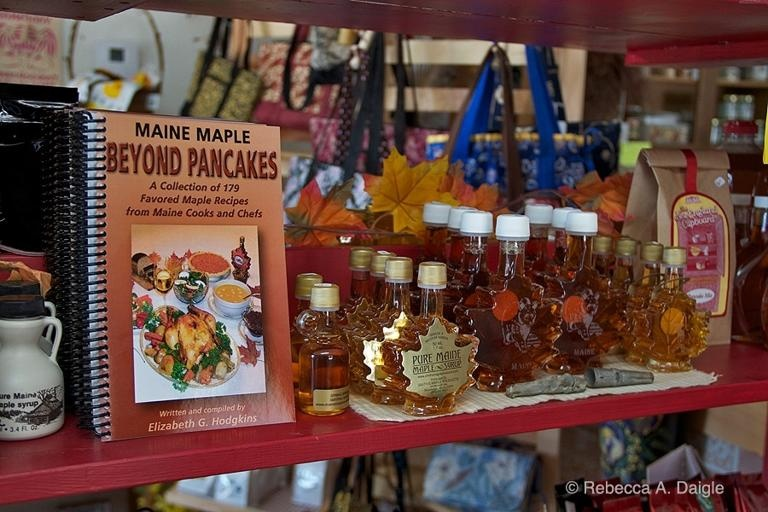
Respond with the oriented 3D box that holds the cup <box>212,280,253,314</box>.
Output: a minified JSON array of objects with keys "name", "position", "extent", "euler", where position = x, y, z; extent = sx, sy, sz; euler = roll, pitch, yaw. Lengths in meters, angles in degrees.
[{"name":"cup","position":[-0.242,0.066,1.060],"extent":[0.056,0.034,0.055],"euler":[8,39,-7]}]

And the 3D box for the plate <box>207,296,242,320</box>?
[{"name":"plate","position":[-0.246,0.080,1.030],"extent":[0.040,0.019,0.038],"euler":[9,-1,-16]}]
